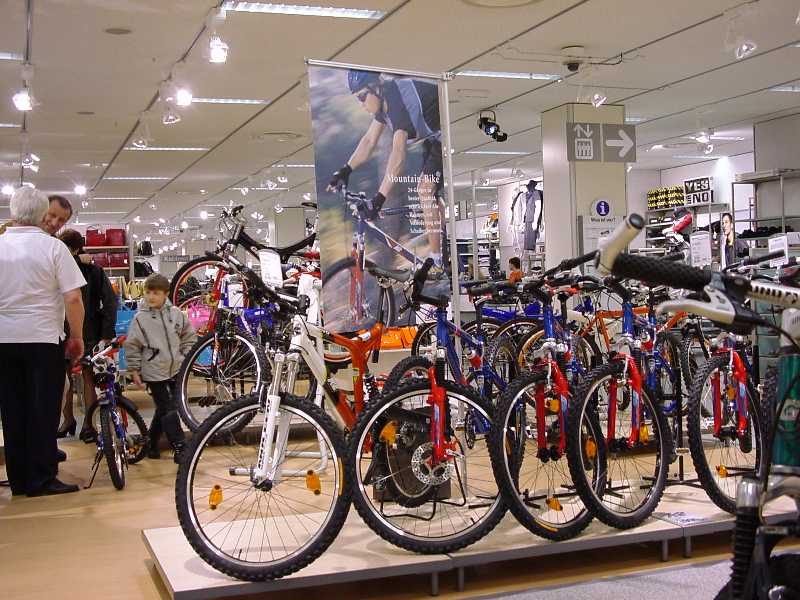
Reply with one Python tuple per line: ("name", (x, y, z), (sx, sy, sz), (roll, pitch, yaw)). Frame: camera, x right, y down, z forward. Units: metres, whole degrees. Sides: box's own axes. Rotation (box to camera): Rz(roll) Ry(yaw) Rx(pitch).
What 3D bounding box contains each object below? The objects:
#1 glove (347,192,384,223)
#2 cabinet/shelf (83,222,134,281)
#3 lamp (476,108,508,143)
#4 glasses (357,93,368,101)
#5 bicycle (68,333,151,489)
("glove", (-0.206, -0.580, 4.004), (0.165, 0.076, 0.177), (5, 43, -13))
("cabinet/shelf", (-5.531, -1.105, 12.201), (0.881, 0.858, 0.740), (-7, 35, -26))
("lamp", (1.387, -2.731, 10.002), (0.318, 0.206, 0.478), (32, 11, -32))
("glasses", (-0.235, -1.255, 3.992), (0.044, 0.047, 0.013), (6, 13, -11))
("bicycle", (-2.464, 1.022, 5.524), (0.682, 1.016, 1.551), (-9, -4, -23))
